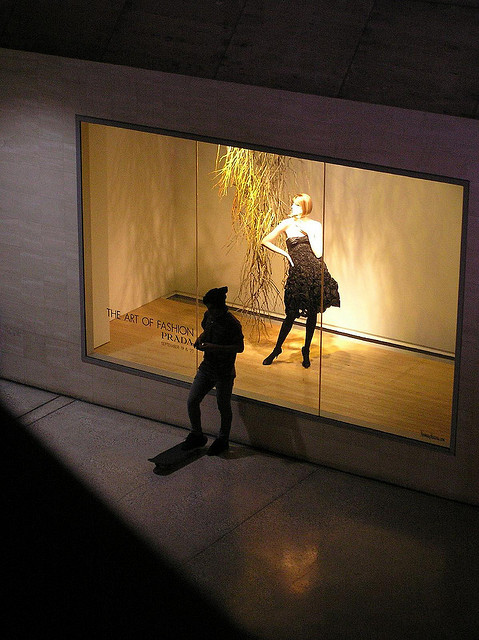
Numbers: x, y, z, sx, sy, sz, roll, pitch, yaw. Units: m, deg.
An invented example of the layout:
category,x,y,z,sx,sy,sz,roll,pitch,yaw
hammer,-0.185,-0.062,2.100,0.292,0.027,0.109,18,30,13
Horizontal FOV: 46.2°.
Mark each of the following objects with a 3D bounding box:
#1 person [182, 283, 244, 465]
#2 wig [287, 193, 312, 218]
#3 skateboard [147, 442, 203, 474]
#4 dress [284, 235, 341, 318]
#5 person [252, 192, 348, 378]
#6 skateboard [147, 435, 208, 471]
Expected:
category,x,y,z,sx,sy,sz,roll,pitch,yaw
person,-0.222,0.436,4.677,0.512,1.487,0.595,1,10,0
wig,0.477,-0.870,4.307,0.136,0.197,0.137,0,27,-24
skateboard,-0.564,1.110,4.741,0.172,0.068,0.445,17,22,25
dress,0.603,-0.410,4.497,0.413,0.655,0.259,2,31,18
person,0.507,-0.252,4.474,0.698,1.451,0.203,10,13,40
skateboard,-0.556,1.097,4.739,0.165,0.095,0.519,16,29,32
